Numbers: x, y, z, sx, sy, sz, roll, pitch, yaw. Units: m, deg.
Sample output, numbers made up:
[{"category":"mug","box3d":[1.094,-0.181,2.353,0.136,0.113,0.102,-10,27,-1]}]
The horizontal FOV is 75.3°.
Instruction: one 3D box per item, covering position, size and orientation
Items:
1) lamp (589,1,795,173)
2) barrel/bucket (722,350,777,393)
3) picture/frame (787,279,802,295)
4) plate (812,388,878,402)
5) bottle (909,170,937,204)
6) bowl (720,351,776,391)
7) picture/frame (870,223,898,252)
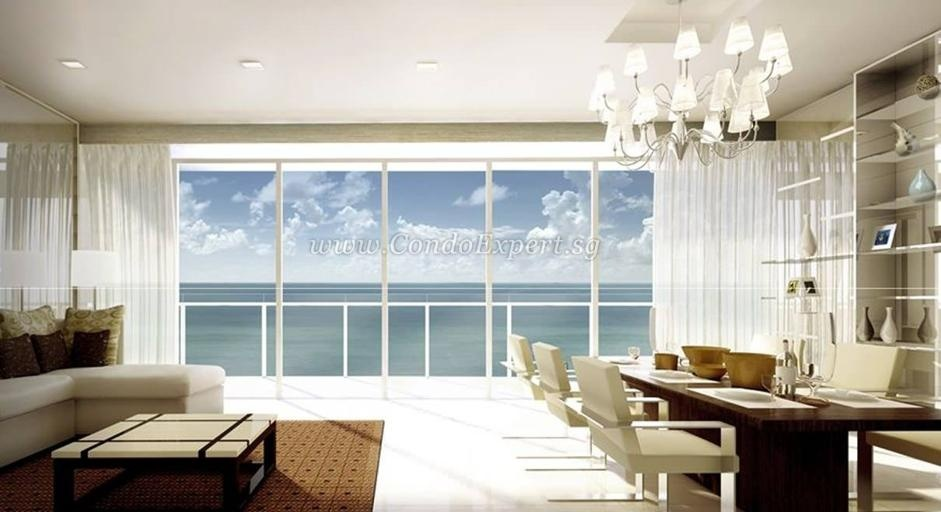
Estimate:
[{"category":"lamp","box3d":[2.434,-1.626,6.713,2.238,1.660,2.109,-2,-7,13]},{"category":"barrel/bucket","box3d":[2.649,1.097,5.773,0.409,0.202,0.372,1,-11,0]},{"category":"picture/frame","box3d":[3.911,0.387,7.386,0.050,0.155,0.169,11,8,3]},{"category":"plate","box3d":[3.429,1.290,5.606,0.387,0.048,0.189,-1,-3,3]},{"category":"bottle","box3d":[4.960,-0.760,6.678,0.118,0.354,0.253,-4,12,-18]},{"category":"bowl","box3d":[2.760,1.147,5.942,0.535,0.276,0.501,6,-8,1]},{"category":"picture/frame","box3d":[4.778,-0.198,7.028,0.029,0.313,0.303,17,-17,-12]}]
